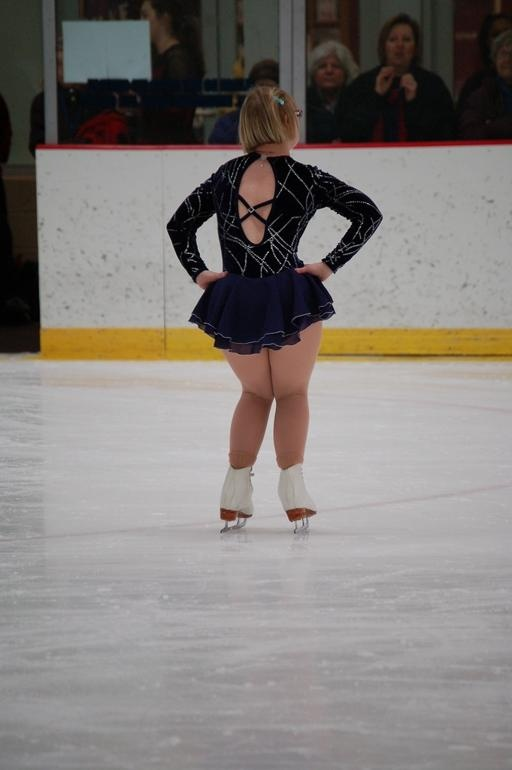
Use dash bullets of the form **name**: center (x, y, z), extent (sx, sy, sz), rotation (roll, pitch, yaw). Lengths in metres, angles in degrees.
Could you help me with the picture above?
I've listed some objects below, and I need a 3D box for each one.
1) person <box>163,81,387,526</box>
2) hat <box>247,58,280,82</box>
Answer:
- **person**: center (-0.008, -0.187, 2.742), extent (0.463, 0.962, 0.356), rotation (9, 12, 33)
- **hat**: center (0.046, -1.736, 6.698), extent (0.171, 0.149, 0.321), rotation (2, 10, -2)
